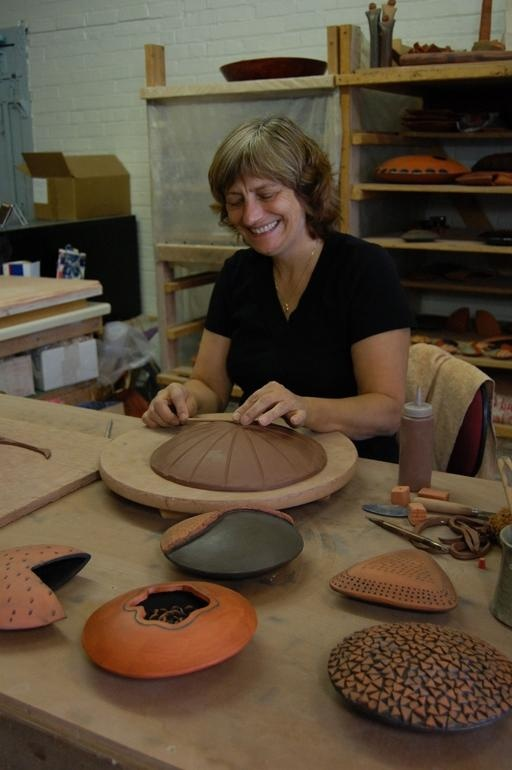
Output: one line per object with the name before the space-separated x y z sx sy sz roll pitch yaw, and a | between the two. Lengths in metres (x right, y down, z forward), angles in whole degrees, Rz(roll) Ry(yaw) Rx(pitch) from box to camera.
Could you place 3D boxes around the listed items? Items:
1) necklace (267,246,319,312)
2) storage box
necklace | 0.107 -0.283 1.669 0.042 0.162 0.133 8 1 -41
storage box | -1.312 -1.357 4.534 0.689 0.447 0.665 11 20 33
